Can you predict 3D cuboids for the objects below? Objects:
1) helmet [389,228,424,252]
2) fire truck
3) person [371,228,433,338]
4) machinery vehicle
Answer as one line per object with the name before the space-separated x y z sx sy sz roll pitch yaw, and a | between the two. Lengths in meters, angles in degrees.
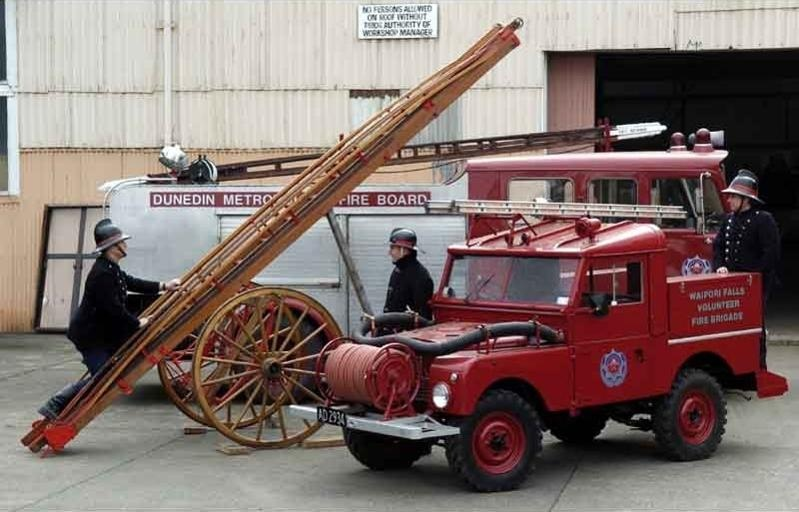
helmet | 0.115 -0.267 22.682 0.422 0.233 0.336 13 -2 -3
fire truck | 1.120 0.162 26.270 10.993 5.409 4.566 -1 12 19
person | 0.110 0.397 22.785 0.712 1.735 0.847 0 0 11
machinery vehicle | 2.395 1.273 22.480 7.049 3.839 3.660 -4 5 -35
